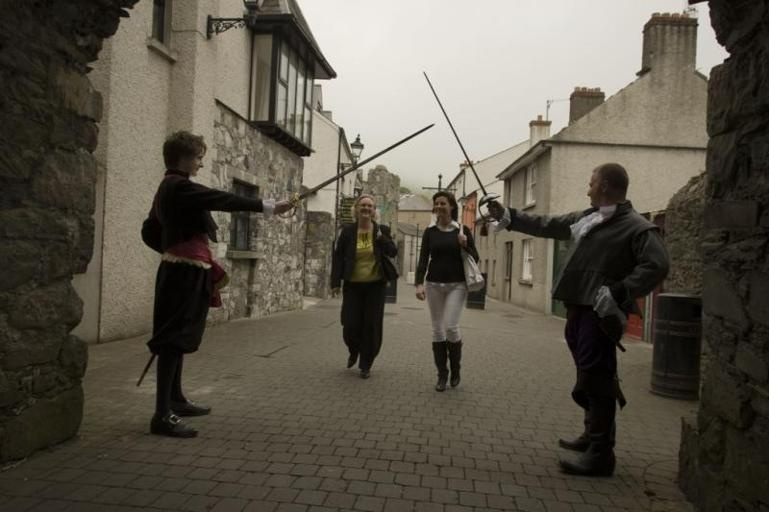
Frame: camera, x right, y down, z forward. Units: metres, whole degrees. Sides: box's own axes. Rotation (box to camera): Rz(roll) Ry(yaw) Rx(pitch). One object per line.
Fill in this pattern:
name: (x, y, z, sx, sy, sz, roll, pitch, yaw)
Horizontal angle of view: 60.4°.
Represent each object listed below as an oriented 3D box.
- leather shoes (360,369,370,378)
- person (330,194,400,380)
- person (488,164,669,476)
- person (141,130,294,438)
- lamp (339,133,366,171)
leather shoes: (-0.246, 1.413, 8.010, 0.114, 0.114, 0.192, 2, 4, -3)
person: (-0.266, 0.368, 8.162, 0.815, 2.209, 0.686, 2, 4, -5)
person: (1.741, 0.501, 5.740, 0.643, 2.626, 1.241, 0, 5, -37)
person: (-1.746, 0.217, 6.065, 0.912, 2.707, 0.910, 1, 4, -21)
lamp: (-1.086, -4.011, 24.781, 0.806, 1.393, 0.762, 9, -31, -4)
